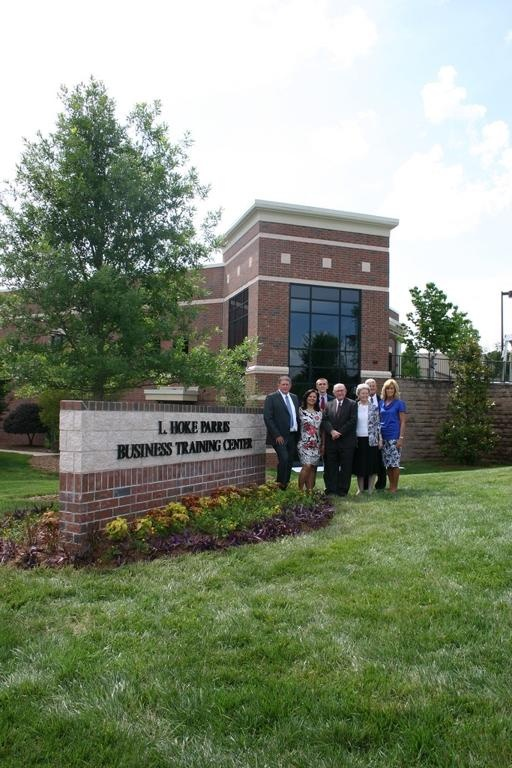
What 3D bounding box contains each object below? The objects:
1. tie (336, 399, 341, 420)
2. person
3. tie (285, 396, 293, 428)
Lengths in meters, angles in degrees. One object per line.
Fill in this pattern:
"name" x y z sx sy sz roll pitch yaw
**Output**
"tie" 1.226 0.351 10.382 0.077 0.227 0.072 2 -4 3
"person" 1.622 0.802 10.714 1.292 1.799 1.039 3 -4 -11
"tie" 0.484 0.410 10.000 0.129 0.508 0.221 2 -4 7
